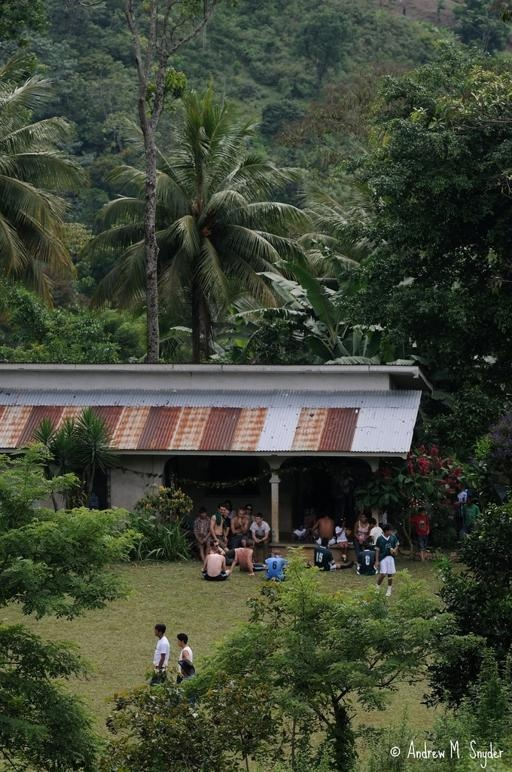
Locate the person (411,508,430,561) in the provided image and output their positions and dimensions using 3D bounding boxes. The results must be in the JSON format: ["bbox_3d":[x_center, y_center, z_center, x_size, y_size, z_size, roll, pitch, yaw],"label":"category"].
[{"bbox_3d":[2.881,2.637,23.274,0.311,0.935,1.276,3,-5,7],"label":"person"}]

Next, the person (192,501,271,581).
[{"bbox_3d":[-0.455,2.848,21.759,1.129,1.440,0.621,3,-9,-7],"label":"person"}]

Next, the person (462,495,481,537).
[{"bbox_3d":[3.690,2.219,22.639,0.303,0.727,1.119,3,-5,9],"label":"person"}]
